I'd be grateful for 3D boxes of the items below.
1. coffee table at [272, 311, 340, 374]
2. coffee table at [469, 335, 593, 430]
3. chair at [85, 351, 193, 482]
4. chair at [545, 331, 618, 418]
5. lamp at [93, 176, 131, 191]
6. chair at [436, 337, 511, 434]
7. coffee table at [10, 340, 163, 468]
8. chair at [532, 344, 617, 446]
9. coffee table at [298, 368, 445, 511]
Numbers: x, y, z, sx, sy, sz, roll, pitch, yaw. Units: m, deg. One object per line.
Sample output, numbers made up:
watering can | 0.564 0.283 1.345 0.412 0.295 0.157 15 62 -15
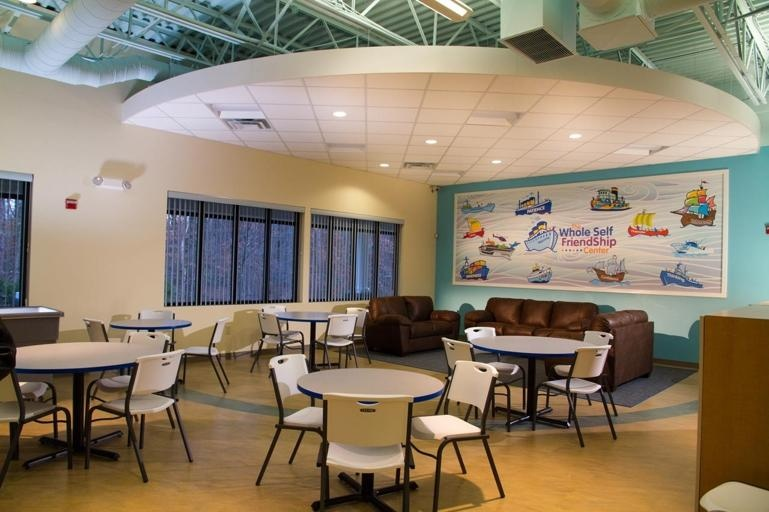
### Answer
coffee table | -1.340 1.472 9.425 1.170 0.791 1.016 -1 1 3
coffee table | 1.948 1.732 7.399 1.447 0.798 1.313 0 4 6
chair | -2.753 1.665 6.063 1.071 1.301 1.197 2 0 -27
chair | 2.482 1.623 7.072 0.903 0.970 0.803 4 -4 -15
lamp | -4.439 -1.169 8.759 0.235 0.135 0.396 7 4 39
chair | 1.216 1.662 7.054 0.949 1.090 0.728 7 -3 -14
coffee table | -3.299 1.618 6.087 1.582 0.948 1.441 0 -4 6
chair | 2.473 1.741 7.010 0.895 1.066 0.880 5 -8 -25
coffee table | -0.172 1.831 5.423 1.475 1.051 1.430 2 -2 -44
